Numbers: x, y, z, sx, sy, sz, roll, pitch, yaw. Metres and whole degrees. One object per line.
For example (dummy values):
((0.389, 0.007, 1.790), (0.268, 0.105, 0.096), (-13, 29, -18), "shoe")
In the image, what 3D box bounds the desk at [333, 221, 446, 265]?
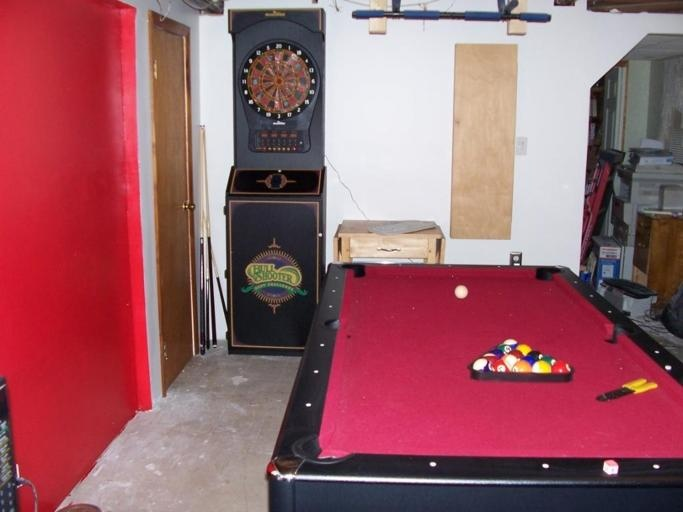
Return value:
((0.352, -0.067, 4.226), (0.801, 0.334, 0.526), (3, 14, 7), "desk")

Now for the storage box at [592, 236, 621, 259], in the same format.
((2.589, -0.073, 5.537), (0.188, 0.106, 0.436), (1, 14, 11), "storage box")

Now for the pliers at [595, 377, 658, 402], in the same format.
((0.935, 0.445, 1.875), (0.271, 0.031, 0.081), (-8, 16, -25), "pliers")

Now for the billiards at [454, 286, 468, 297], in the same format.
((0.594, 0.178, 2.832), (0.052, 0.030, 0.054), (-8, 51, 11), "billiards")
